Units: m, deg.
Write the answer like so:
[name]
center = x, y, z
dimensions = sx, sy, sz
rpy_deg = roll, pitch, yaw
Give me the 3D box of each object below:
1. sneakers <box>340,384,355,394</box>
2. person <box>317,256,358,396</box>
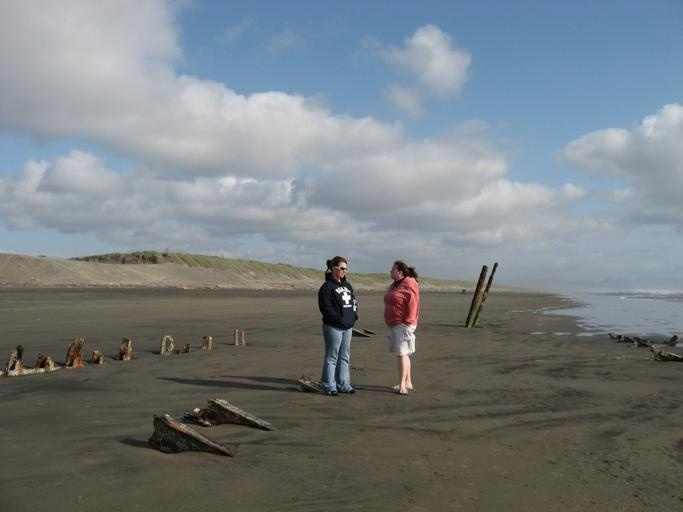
[sneakers]
center = 0.109, 2.443, 8.632
dimensions = 0.287, 0.107, 0.099
rpy_deg = 1, -3, -2
[person]
center = -0.039, 1.249, 8.686
dimensions = 0.757, 1.810, 0.705
rpy_deg = 4, -2, 2
